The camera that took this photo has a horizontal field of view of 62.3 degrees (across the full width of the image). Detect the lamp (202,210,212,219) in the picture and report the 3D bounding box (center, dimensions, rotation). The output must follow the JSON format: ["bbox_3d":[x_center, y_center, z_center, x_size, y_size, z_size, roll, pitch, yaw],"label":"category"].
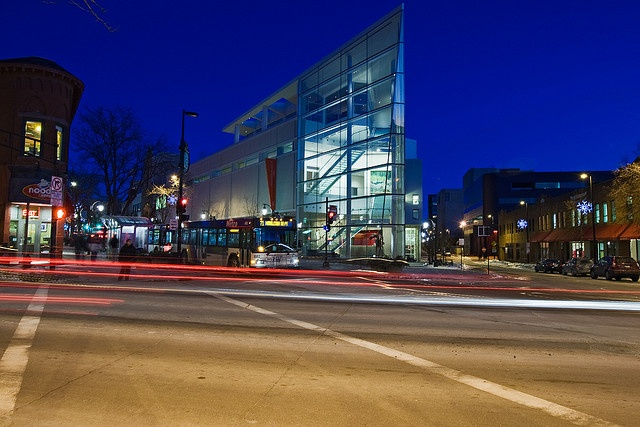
[{"bbox_3d":[-15.823,0.150,73.827,1.635,1.539,0.647,0,7,-5],"label":"lamp"}]

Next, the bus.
[{"bbox_3d":[-7.305,1.890,36.378,3.772,3.627,14.215,3,-7,-35],"label":"bus"}]

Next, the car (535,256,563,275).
[{"bbox_3d":[21.633,4.967,50.293,1.244,0.884,2.764,-1,-2,3],"label":"car"}]
